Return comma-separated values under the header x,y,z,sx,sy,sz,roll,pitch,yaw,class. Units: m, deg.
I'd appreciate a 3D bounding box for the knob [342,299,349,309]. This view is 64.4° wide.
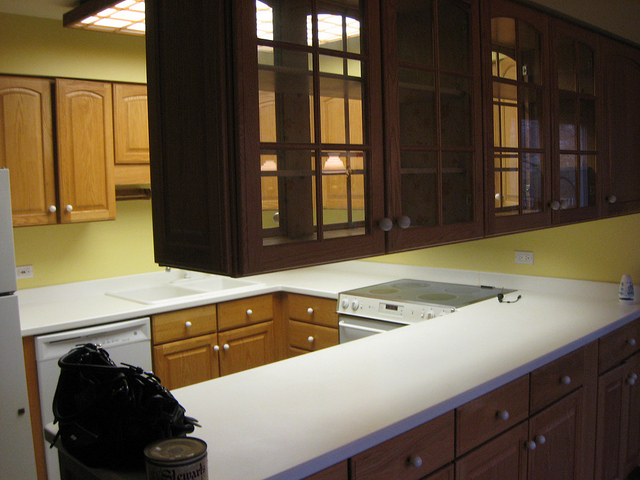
x,y,z,sx,sy,sz,roll,pitch,yaw,class
0.167,0.422,3.349,0.014,0.046,0.043,6,0,-27,knob

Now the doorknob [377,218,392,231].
x,y,z,sx,sy,sz,roll,pitch,yaw,class
0.243,-0.055,1.894,0.059,0.049,0.040,-4,8,-5,doorknob

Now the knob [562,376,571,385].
x,y,z,sx,sy,sz,roll,pitch,yaw,class
1.159,0.659,2.394,0.037,0.041,0.029,-3,-8,-11,knob

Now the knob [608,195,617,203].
x,y,z,sx,sy,sz,roll,pitch,yaw,class
1.620,-0.225,2.820,0.036,0.038,0.025,-32,20,-19,knob

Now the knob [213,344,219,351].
x,y,z,sx,sy,sz,roll,pitch,yaw,class
-0.707,0.740,3.467,0.029,0.038,0.047,-3,8,0,knob

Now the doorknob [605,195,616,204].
x,y,z,sx,sy,sz,roll,pitch,yaw,class
1.621,-0.229,2.833,0.044,0.037,0.033,-26,19,-17,doorknob

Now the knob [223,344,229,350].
x,y,z,sx,sy,sz,roll,pitch,yaw,class
-0.645,0.736,3.486,0.031,0.025,0.033,0,4,-1,knob

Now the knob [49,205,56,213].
x,y,z,sx,sy,sz,roll,pitch,yaw,class
-1.708,-0.197,3.239,0.012,0.039,0.037,1,-27,42,knob

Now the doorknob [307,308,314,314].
x,y,z,sx,sy,sz,roll,pitch,yaw,class
-0.070,0.502,3.588,0.028,0.032,0.034,-2,-7,22,doorknob

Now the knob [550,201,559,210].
x,y,z,sx,sy,sz,roll,pitch,yaw,class
1.162,-0.169,2.520,0.051,0.042,0.022,-6,9,-20,knob

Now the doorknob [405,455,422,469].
x,y,z,sx,sy,sz,roll,pitch,yaw,class
0.340,0.808,1.848,0.049,0.038,0.026,12,5,43,doorknob

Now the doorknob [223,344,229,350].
x,y,z,sx,sy,sz,roll,pitch,yaw,class
-0.646,0.741,3.493,0.025,0.042,0.030,-4,8,-7,doorknob

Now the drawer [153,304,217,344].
x,y,z,sx,sy,sz,roll,pitch,yaw,class
-0.882,0.548,3.342,0.214,0.122,0.262,5,9,42,drawer

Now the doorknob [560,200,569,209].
x,y,z,sx,sy,sz,roll,pitch,yaw,class
1.248,-0.180,2.599,0.018,0.051,0.134,3,11,37,doorknob

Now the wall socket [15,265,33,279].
x,y,z,sx,sy,sz,roll,pitch,yaw,class
-1.967,0.214,3.367,0.011,0.077,0.102,10,13,42,wall socket

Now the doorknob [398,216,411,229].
x,y,z,sx,sy,sz,roll,pitch,yaw,class
0.322,-0.067,1.927,0.050,0.040,0.027,-8,10,-30,doorknob

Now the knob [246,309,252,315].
x,y,z,sx,sy,sz,roll,pitch,yaw,class
-0.502,0.514,3.597,0.030,0.019,0.032,-5,4,-19,knob

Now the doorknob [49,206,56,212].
x,y,z,sx,sy,sz,roll,pitch,yaw,class
-1.710,-0.195,3.247,0.034,0.037,0.023,-10,11,-40,doorknob

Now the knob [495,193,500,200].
x,y,z,sx,sy,sz,roll,pitch,yaw,class
0.799,-0.192,2.290,0.018,0.025,0.005,25,-5,-42,knob

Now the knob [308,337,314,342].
x,y,z,sx,sy,sz,roll,pitch,yaw,class
-0.062,0.707,3.586,0.038,0.037,0.014,0,8,16,knob

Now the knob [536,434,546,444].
x,y,z,sx,sy,sz,roll,pitch,yaw,class
0.991,0.897,2.285,0.044,0.042,0.016,-14,13,15,knob

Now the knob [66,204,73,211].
x,y,z,sx,sy,sz,roll,pitch,yaw,class
-1.614,-0.206,3.269,0.027,0.030,0.028,10,11,18,knob

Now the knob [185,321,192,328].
x,y,z,sx,sy,sz,roll,pitch,yaw,class
-0.864,0.559,3.322,0.032,0.023,0.034,4,-3,-1,knob

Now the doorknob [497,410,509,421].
x,y,z,sx,sy,sz,roll,pitch,yaw,class
0.760,0.725,2.099,0.032,0.031,0.038,-1,-2,12,doorknob

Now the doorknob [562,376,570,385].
x,y,z,sx,sy,sz,roll,pitch,yaw,class
1.156,0.659,2.387,0.033,0.035,0.025,19,-4,-42,doorknob

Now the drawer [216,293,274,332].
x,y,z,sx,sy,sz,roll,pitch,yaw,class
-0.504,0.577,3.722,0.424,0.224,0.267,-10,-33,1,drawer

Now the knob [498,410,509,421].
x,y,z,sx,sy,sz,roll,pitch,yaw,class
0.757,0.727,2.101,0.034,0.040,0.041,-2,-5,9,knob

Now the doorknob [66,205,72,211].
x,y,z,sx,sy,sz,roll,pitch,yaw,class
-1.614,-0.204,3.268,0.027,0.028,0.031,-44,-10,16,doorknob

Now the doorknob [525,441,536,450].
x,y,z,sx,sy,sz,roll,pitch,yaw,class
0.928,0.905,2.234,0.032,0.033,0.040,-4,0,-45,doorknob
